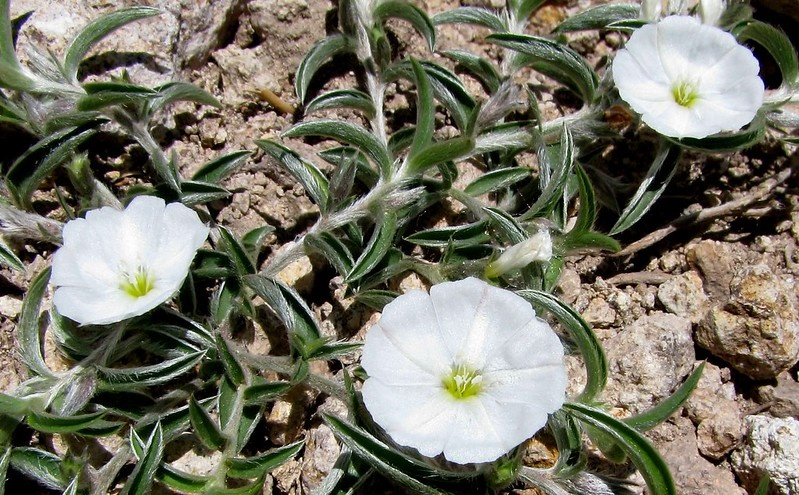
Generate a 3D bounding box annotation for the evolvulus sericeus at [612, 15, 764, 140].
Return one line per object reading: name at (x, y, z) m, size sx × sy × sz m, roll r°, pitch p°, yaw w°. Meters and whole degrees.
evolvulus sericeus at (1.801, -1.079, 4.521) m, size 0.806 × 0.318 × 0.878 m, roll -1°, pitch 63°, yaw -4°
